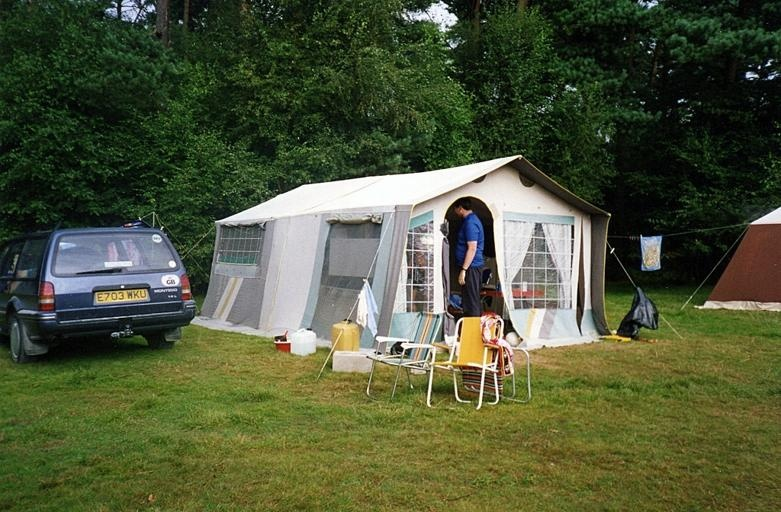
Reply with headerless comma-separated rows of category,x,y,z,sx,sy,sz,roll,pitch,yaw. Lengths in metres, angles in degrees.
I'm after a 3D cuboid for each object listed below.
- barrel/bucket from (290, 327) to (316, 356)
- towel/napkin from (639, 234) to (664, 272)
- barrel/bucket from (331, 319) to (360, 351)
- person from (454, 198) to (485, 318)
barrel/bucket,-1.656,1.630,11.677,0.485,0.535,0.379,-2,4,-28
towel/napkin,6.785,-0.085,16.079,0.643,0.946,0.564,4,14,10
barrel/bucket,-0.780,1.394,10.971,0.534,0.574,0.511,0,-3,0
person,1.428,0.035,11.136,0.511,2.062,0.972,1,14,1
